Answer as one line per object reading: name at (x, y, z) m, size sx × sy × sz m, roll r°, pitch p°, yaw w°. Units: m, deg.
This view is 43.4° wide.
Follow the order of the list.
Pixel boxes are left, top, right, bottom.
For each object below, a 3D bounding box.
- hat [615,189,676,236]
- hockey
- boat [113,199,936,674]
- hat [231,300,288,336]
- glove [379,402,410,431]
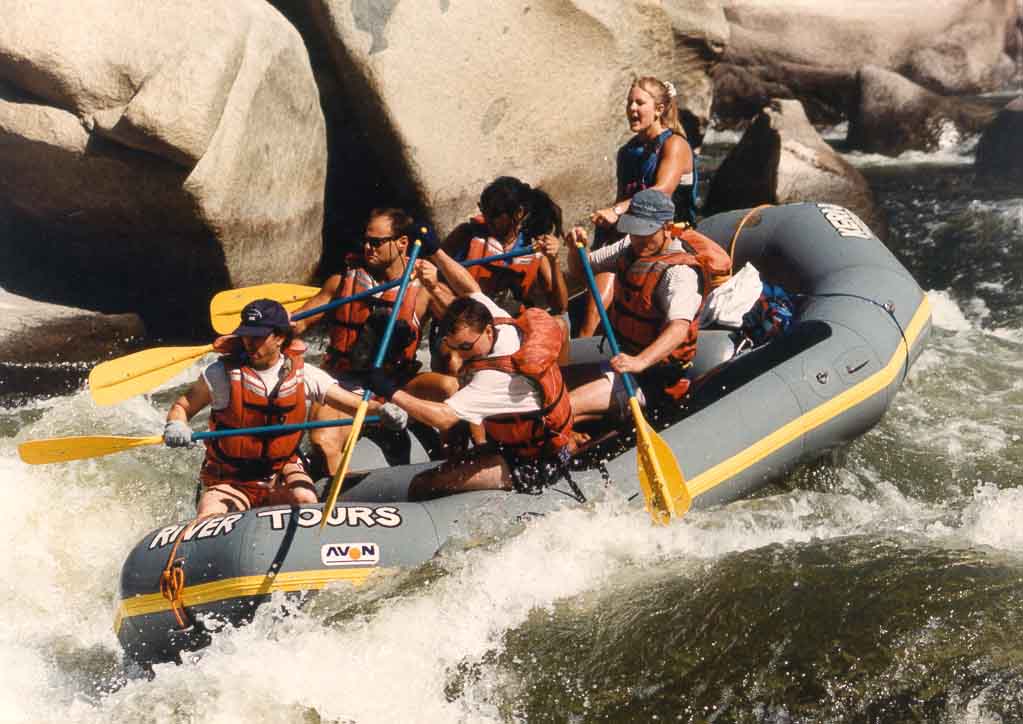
hat at (0.838, -0.956, 8.211) m, size 0.335 × 0.188 × 0.245 m, roll -21°, pitch 30°, yaw -33°
hockey at (-1.753, 0.473, 8.637) m, size 3.063 × 0.131 × 0.288 m, roll -2°, pitch 24°, yaw -33°
boat at (0.335, 0.531, 8.319) m, size 5.050 × 0.938 × 2.539 m, roll -22°, pitch 29°, yaw -6°
hat at (-1.520, -0.267, 7.721) m, size 0.284 × 0.166 × 0.202 m, roll 2°, pitch 3°, yaw -35°
glove at (-0.723, 0.316, 7.823) m, size 0.170 × 0.124 × 0.062 m, roll 30°, pitch 45°, yaw 5°
